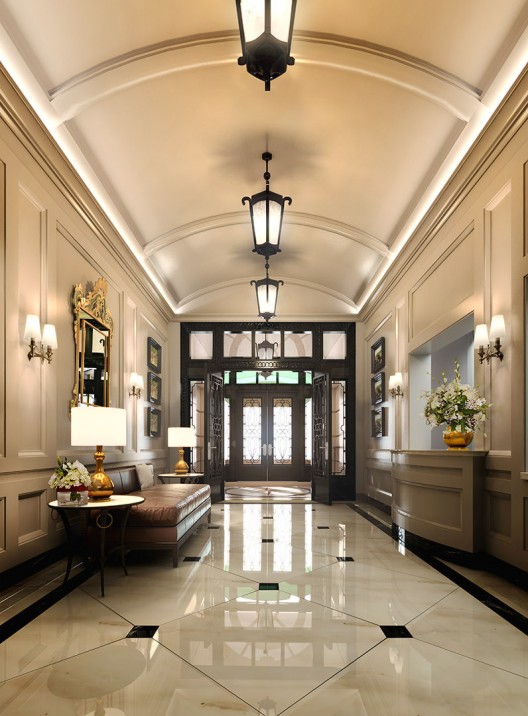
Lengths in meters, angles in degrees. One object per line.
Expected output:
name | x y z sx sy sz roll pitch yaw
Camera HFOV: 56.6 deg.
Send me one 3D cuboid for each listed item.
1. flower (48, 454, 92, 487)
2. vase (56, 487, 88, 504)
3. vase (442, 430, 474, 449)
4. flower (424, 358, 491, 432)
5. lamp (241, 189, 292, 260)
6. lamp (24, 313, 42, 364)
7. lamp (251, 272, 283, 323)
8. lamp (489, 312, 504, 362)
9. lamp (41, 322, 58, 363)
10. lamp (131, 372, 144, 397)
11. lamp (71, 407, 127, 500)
flower | -1.340 0.817 3.411 0.274 0.301 0.277 1 -15 -6
vase | -1.316 0.932 3.313 0.135 0.092 0.144 0 -5 0
vase | 1.571 0.656 3.949 0.168 0.129 0.172 -8 -13 35
flower | 1.509 0.314 3.972 0.502 0.638 0.549 4 -7 -4
lamp | 0.021 -1.253 4.518 0.301 0.563 0.511 0 -10 -2
lamp | -1.653 -0.130 3.488 0.108 0.301 0.361 4 -11 -24
lamp | 0.035 -0.800 6.136 0.243 0.606 0.541 0 -10 -2
lamp | 1.690 -0.140 3.527 0.102 0.318 0.269 -5 -11 24
lamp | -1.650 -0.122 3.747 0.104 0.305 0.417 4 -11 -24
lamp | -1.719 0.359 6.598 0.120 0.360 0.301 -7 -9 14
lamp | -1.158 0.644 3.425 0.348 0.650 0.637 3 -11 -18
